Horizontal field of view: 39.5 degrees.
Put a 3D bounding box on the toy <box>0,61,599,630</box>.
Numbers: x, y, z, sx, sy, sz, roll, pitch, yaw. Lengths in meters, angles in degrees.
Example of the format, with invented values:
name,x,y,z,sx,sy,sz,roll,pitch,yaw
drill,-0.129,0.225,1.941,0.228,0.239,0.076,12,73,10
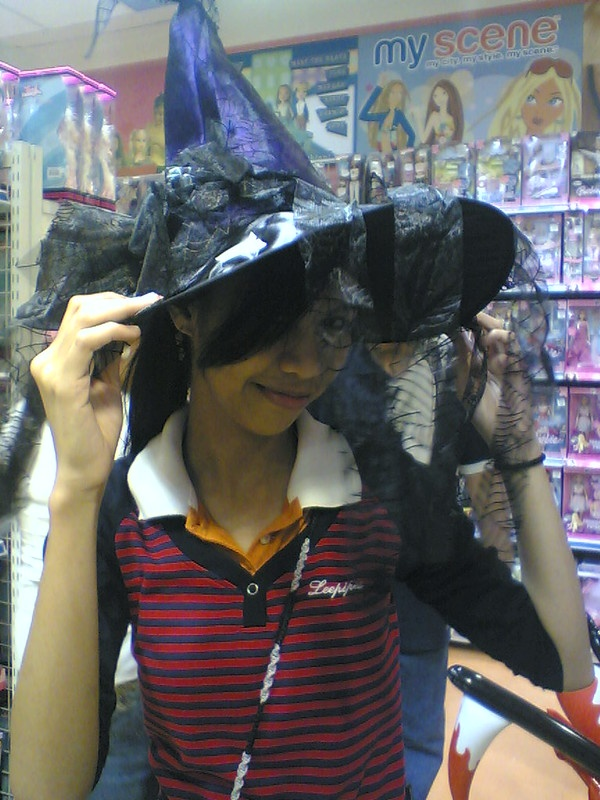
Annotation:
name,x,y,z,sx,sy,sz,roll,pitch,yaw
toy,-0.045,-0.053,0.957,0.637,0.609,0.266,5,12,19

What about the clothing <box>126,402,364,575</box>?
name,x,y,z,sx,sy,sz,roll,pitch,yaw
clothing,-0.078,0.111,1.093,0.318,0.159,0.169,-1,13,-8
